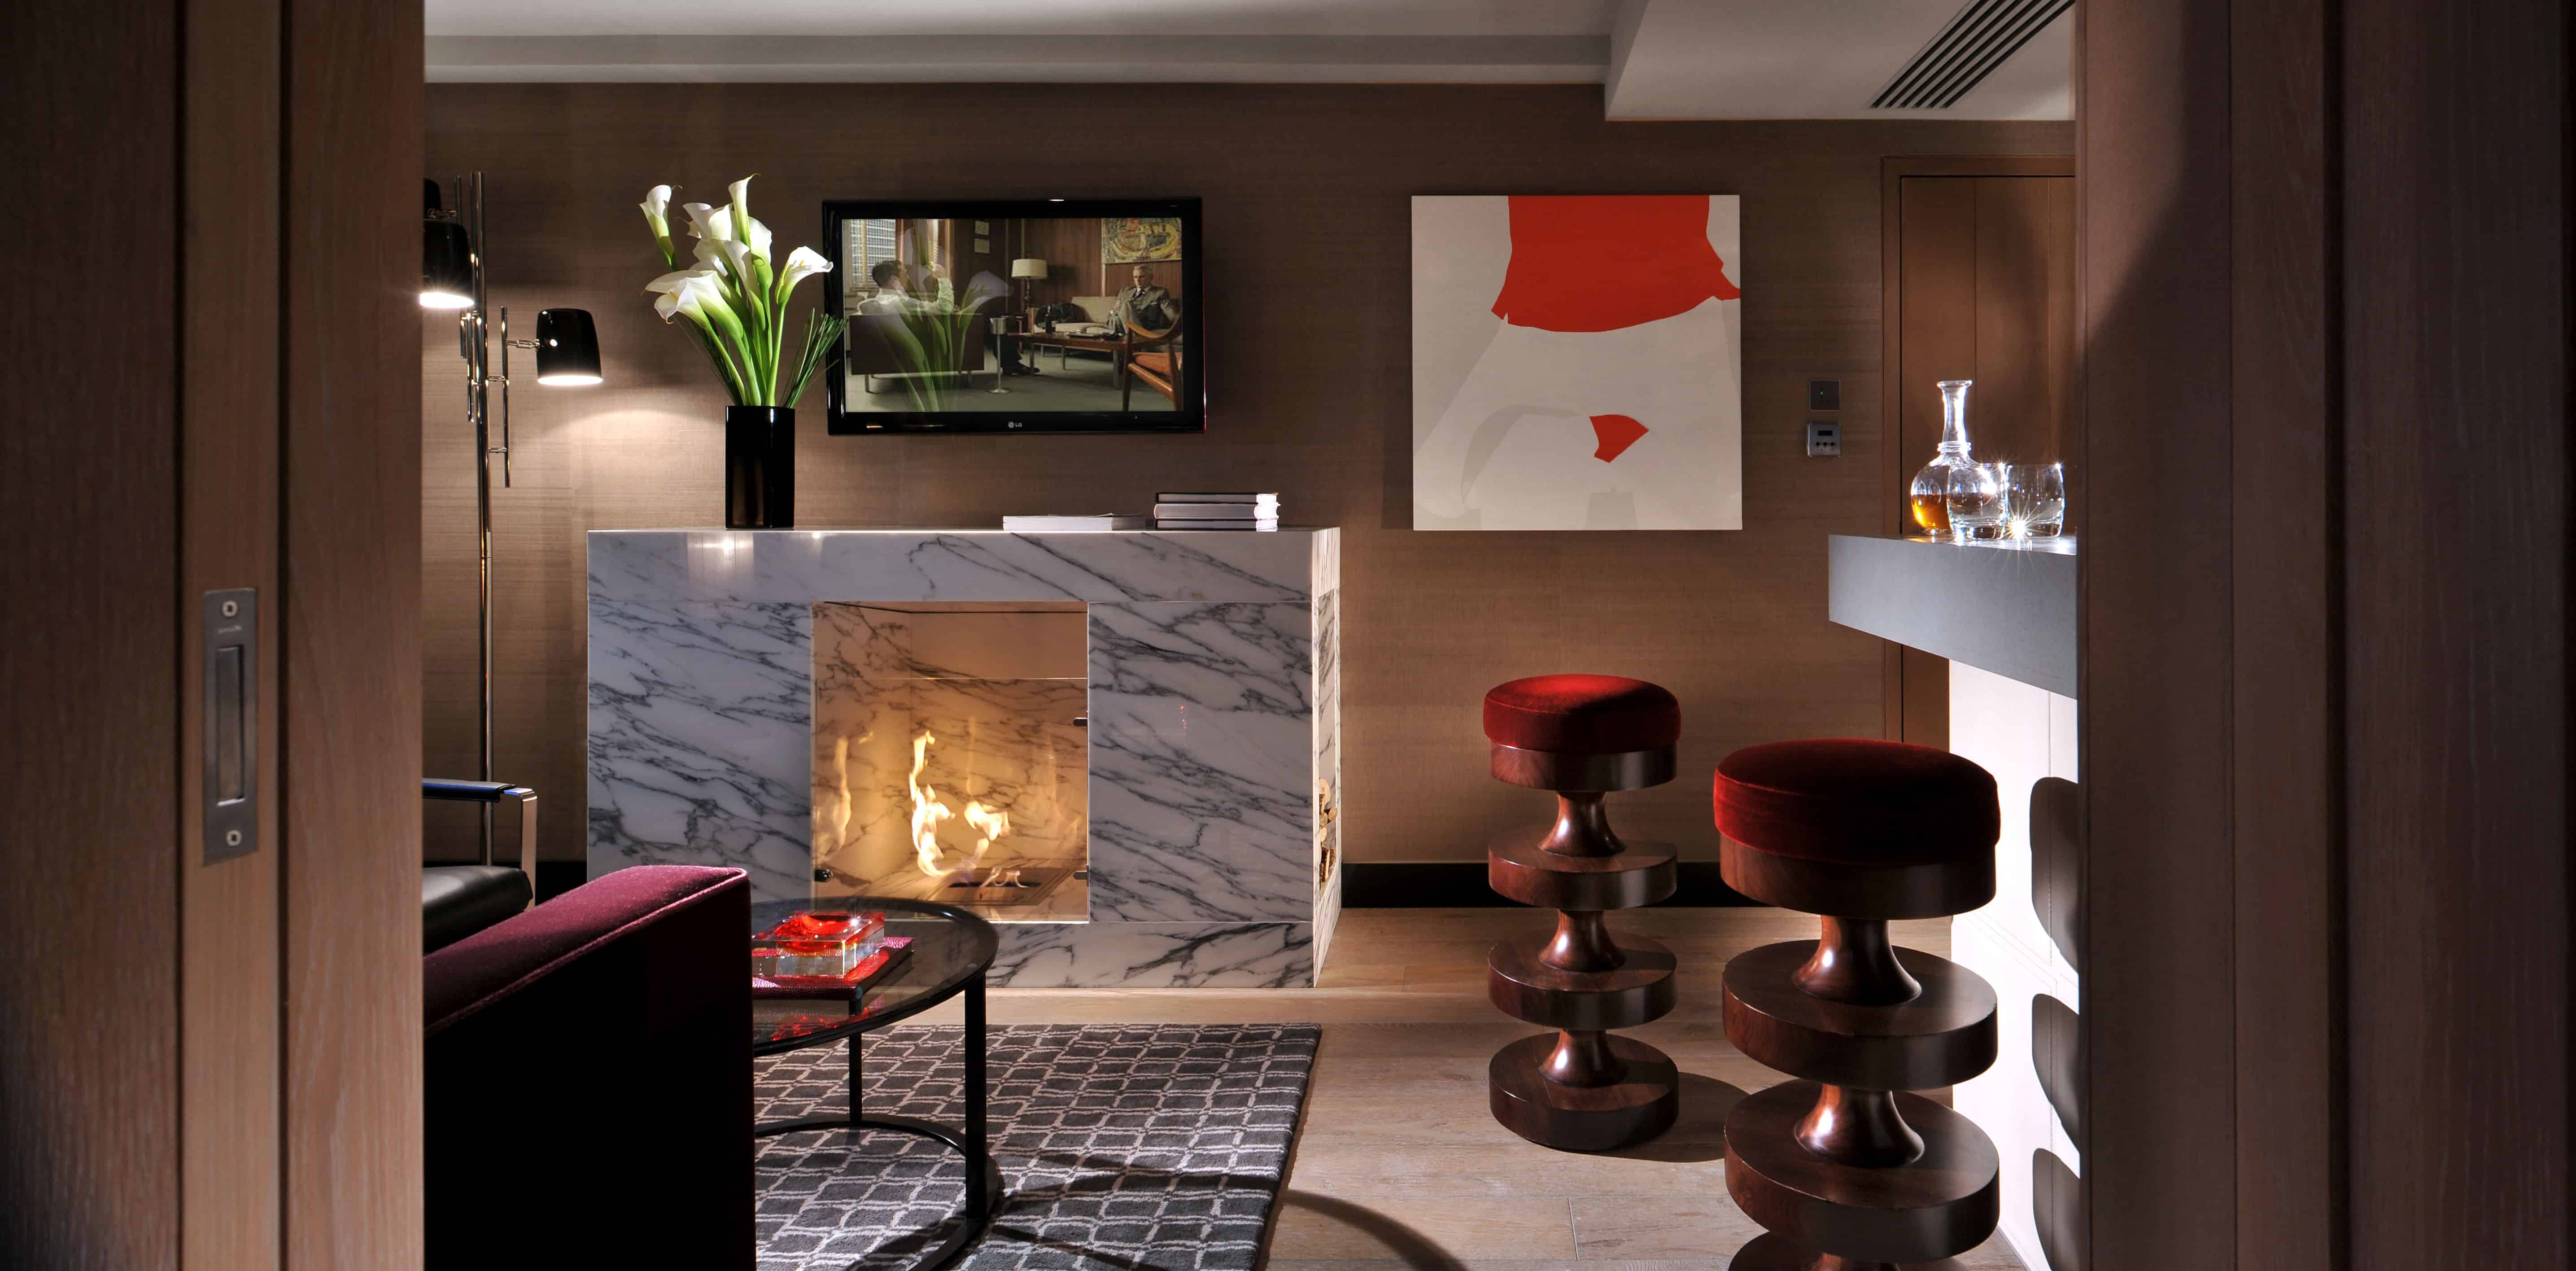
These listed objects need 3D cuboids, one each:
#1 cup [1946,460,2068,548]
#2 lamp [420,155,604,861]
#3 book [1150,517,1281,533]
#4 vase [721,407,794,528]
[{"bbox_3d":[1.402,-0.258,3.631,0.239,0.129,0.205,0,-1,-3],"label":"cup"},{"bbox_3d":[-2.308,-0.360,5.532,0.486,2.066,0.982,-7,18,-24],"label":"lamp"},{"bbox_3d":[-0.232,-0.314,5.092,0.272,0.031,0.061,-1,14,-4],"label":"book"},{"bbox_3d":[-1.500,-0.484,5.198,0.188,0.345,0.148,-4,17,-15],"label":"vase"}]
